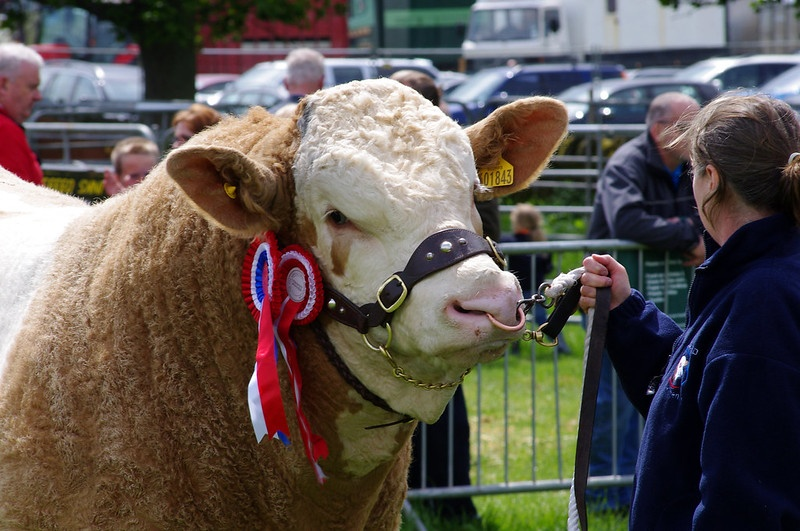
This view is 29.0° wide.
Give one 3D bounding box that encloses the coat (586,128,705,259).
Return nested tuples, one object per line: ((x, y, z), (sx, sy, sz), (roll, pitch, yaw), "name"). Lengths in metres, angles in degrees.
((2.356, -0.710, 13.850), (1.050, 1.178, 1.256), (-4, 15, -18), "coat")

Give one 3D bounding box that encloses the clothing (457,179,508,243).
((0.661, -0.471, 12.262), (0.213, 0.536, 0.281), (-13, 32, 1), "clothing")

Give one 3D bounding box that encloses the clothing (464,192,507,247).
((0.737, -0.379, 13.002), (0.160, 0.630, 0.329), (-9, -16, 27), "clothing")

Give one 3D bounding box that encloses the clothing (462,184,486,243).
((0.513, -0.379, 10.540), (0.133, 0.334, 0.177), (-6, -4, 8), "clothing")
